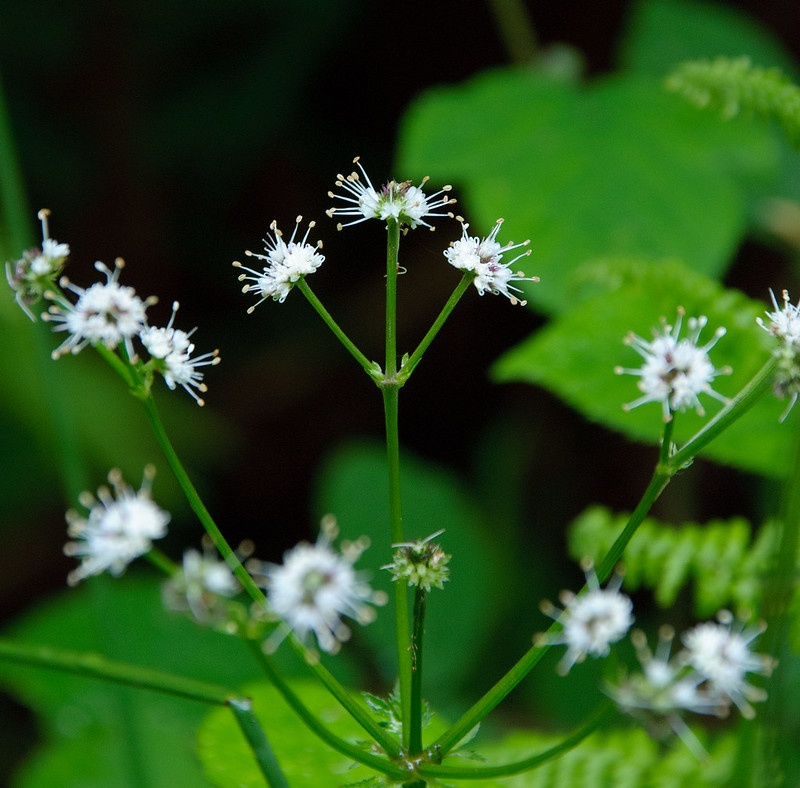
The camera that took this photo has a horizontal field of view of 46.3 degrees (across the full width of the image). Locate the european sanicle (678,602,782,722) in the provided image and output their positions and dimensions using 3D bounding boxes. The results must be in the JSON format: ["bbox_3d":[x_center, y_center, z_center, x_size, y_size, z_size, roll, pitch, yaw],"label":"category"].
[{"bbox_3d":[0.382,0.300,1.119,0.120,0.049,0.111,-11,2,-36],"label":"european sanicle"}]

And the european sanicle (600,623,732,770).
[{"bbox_3d":[0.284,0.328,1.103,0.123,0.070,0.142,22,-25,-13],"label":"european sanicle"}]

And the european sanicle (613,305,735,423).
[{"bbox_3d":[0.360,-0.041,1.253,0.149,0.204,0.072,4,-16,7],"label":"european sanicle"}]

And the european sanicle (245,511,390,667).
[{"bbox_3d":[-0.105,0.236,1.164,0.163,0.066,0.184,-28,-79,-11],"label":"european sanicle"}]

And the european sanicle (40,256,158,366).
[{"bbox_3d":[-0.388,-0.100,1.228,0.126,0.084,0.163,2,-83,8],"label":"european sanicle"}]

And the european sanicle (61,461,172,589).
[{"bbox_3d":[-0.349,0.153,1.133,0.123,0.143,0.056,-27,-57,11],"label":"european sanicle"}]

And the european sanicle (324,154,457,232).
[{"bbox_3d":[-0.004,-0.277,1.342,0.174,0.218,0.096,1,-87,6],"label":"european sanicle"}]
